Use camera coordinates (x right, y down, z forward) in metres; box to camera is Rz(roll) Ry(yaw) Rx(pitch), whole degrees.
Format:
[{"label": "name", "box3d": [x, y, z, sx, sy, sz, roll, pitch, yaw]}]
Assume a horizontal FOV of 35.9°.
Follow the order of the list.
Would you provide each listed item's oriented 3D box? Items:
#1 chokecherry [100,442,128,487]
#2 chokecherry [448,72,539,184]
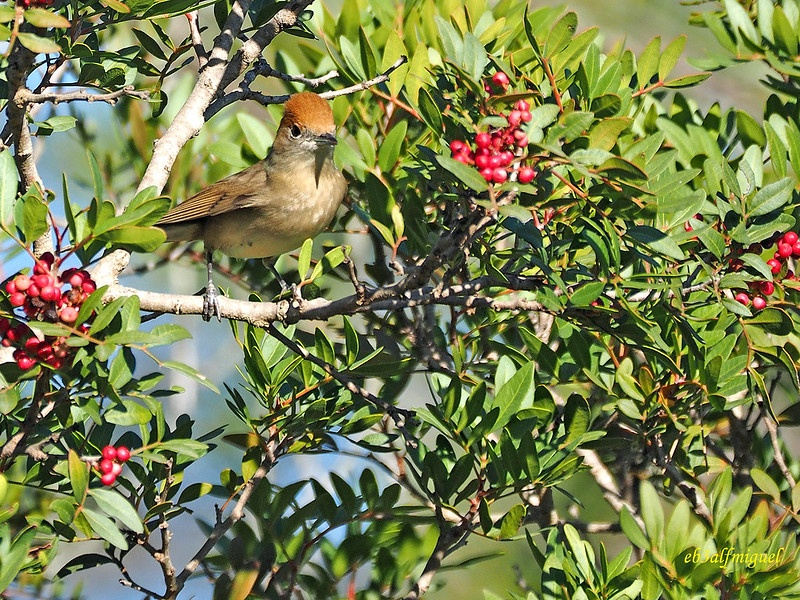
[{"label": "chokecherry", "box3d": [-1.524, 0.876, 6.589, 0.080, 0.109, 0.229, 49, 32, -26]}, {"label": "chokecherry", "box3d": [0.498, -0.870, 6.291, 0.398, 0.621, 0.405, 11, 17, 30]}]
